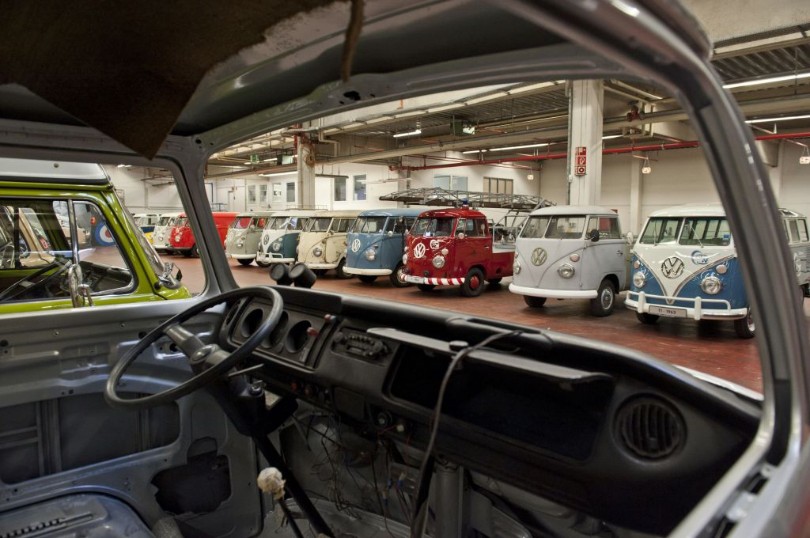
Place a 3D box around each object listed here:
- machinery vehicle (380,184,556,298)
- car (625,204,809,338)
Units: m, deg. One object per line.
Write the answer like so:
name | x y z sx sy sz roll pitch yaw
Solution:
machinery vehicle | 1.773 -0.798 12.738 1.885 2.657 5.556 8 8 36
car | 4.887 0.039 7.666 1.796 2.154 1.116 2 8 36
